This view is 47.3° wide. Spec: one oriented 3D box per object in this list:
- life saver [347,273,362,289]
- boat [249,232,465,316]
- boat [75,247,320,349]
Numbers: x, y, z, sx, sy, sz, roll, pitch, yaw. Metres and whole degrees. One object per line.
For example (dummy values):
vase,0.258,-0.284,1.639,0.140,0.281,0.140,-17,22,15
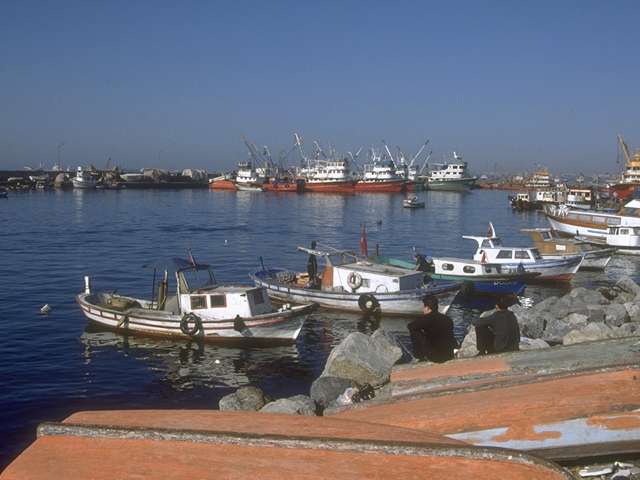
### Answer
life saver,1.280,1.501,26.943,0.650,0.519,0.163,-1,-6,29
boat,0.439,1.434,28.227,9.631,1.904,2.845,5,6,29
boat,-3.684,2.058,24.048,9.181,2.250,2.968,1,5,15
